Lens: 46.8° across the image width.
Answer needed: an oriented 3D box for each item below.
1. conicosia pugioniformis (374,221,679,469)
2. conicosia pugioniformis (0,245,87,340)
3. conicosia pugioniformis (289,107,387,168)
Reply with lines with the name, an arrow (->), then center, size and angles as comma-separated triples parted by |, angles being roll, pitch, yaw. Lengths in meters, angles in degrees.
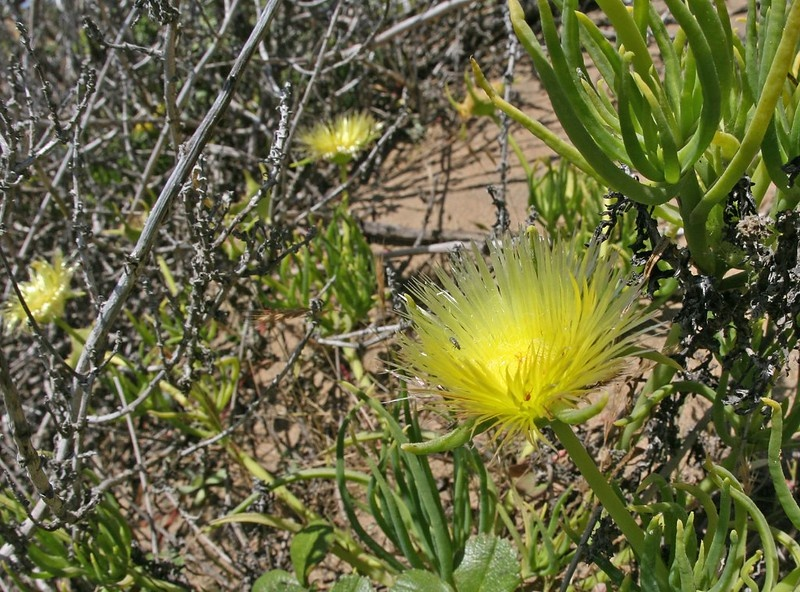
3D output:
conicosia pugioniformis -> 0.236, 0.114, 1.755 | 0.464, 0.396, 0.428 | -8, 64, 4
conicosia pugioniformis -> -0.979, -0.001, 2.545 | 0.115, 0.190, 0.204 | 39, 95, 3
conicosia pugioniformis -> -0.152, -0.510, 2.746 | 0.245, 0.280, 0.158 | -2, 98, 3
